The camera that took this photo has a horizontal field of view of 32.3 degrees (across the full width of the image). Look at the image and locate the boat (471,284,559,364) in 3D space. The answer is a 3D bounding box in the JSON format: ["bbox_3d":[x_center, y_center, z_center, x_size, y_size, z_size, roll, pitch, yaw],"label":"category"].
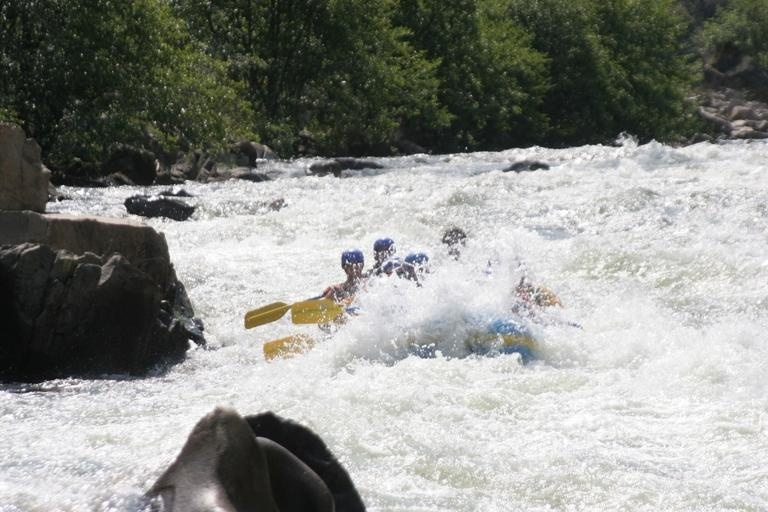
[{"bbox_3d":[3.309,1.640,33.304,2.288,1.881,1.161,-8,6,-34],"label":"boat"}]

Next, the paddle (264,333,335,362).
[{"bbox_3d":[-2.093,2.212,33.447,1.973,0.651,0.223,-16,-13,-10],"label":"paddle"}]
